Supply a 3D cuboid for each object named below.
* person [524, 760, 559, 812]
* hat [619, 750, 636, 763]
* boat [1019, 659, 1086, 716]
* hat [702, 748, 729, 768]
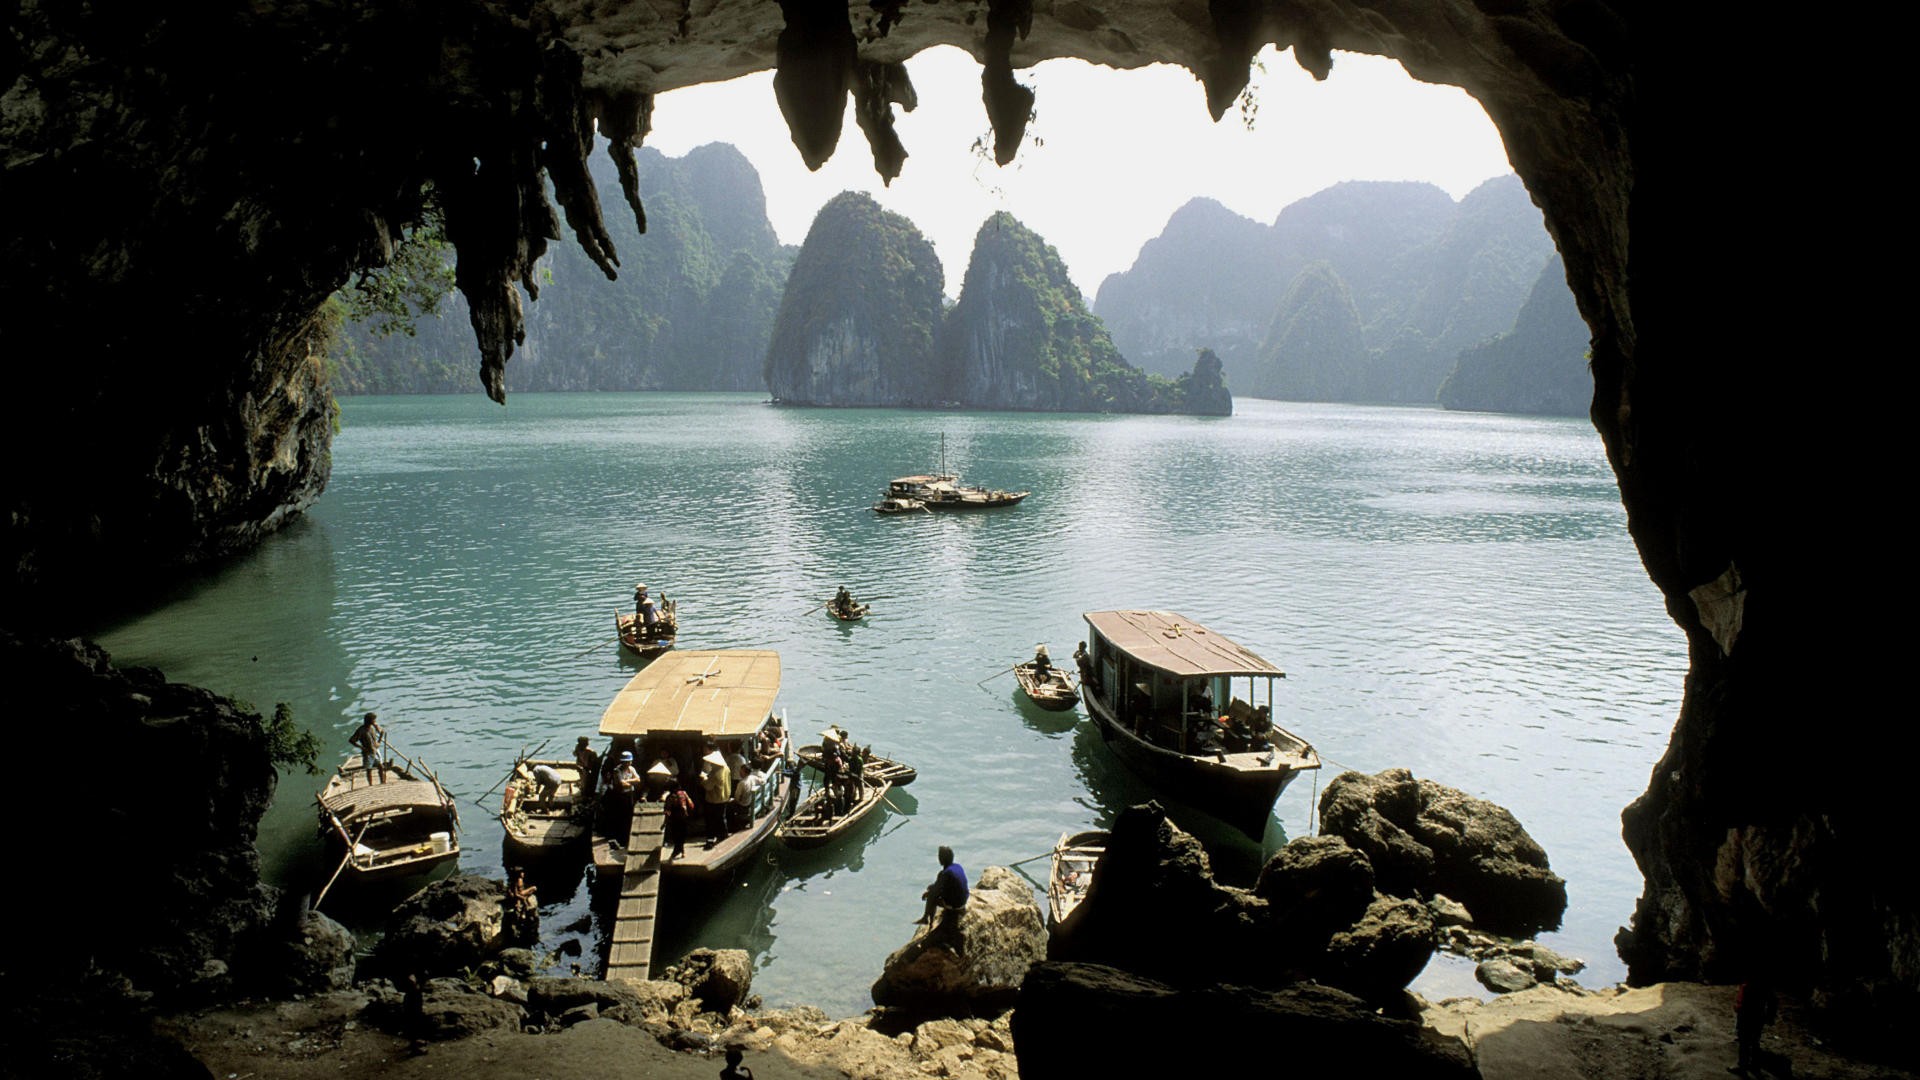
[{"bbox_3d":[-12.750,7.594,44.553,0.776,1.079,0.471,-14,-17,39],"label":"person"},{"bbox_3d":[-10.080,6.603,44.241,0.378,0.281,0.387,7,13,12],"label":"hat"},{"bbox_3d":[3.318,5.203,52.151,1.955,1.787,2.808,-2,9,-6],"label":"boat"},{"bbox_3d":[-7.113,6.536,42.845,0.653,0.506,0.973,-2,9,-9],"label":"hat"}]
